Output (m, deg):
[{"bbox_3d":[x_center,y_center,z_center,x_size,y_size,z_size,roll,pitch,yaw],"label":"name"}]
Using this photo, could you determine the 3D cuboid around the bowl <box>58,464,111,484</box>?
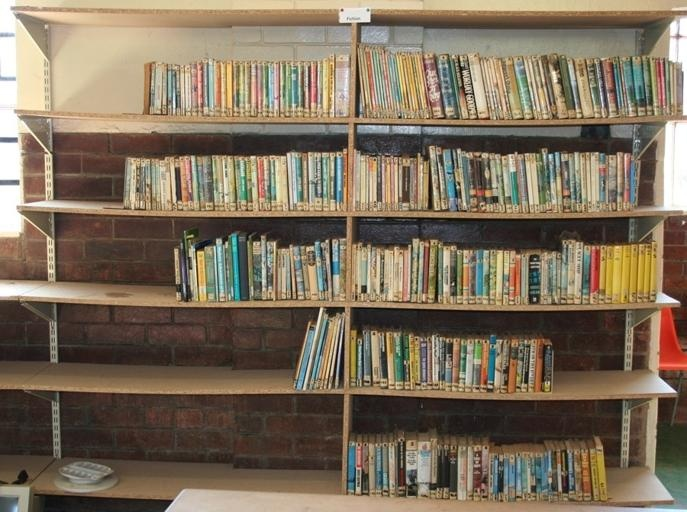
[{"bbox_3d":[-1.322,1.118,5.588,0.170,0.119,0.027,5,-76,1],"label":"bowl"}]

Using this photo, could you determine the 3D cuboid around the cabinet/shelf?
[{"bbox_3d":[0.040,-0.032,5.499,3.395,0.819,2.082,0,-91,1],"label":"cabinet/shelf"}]
